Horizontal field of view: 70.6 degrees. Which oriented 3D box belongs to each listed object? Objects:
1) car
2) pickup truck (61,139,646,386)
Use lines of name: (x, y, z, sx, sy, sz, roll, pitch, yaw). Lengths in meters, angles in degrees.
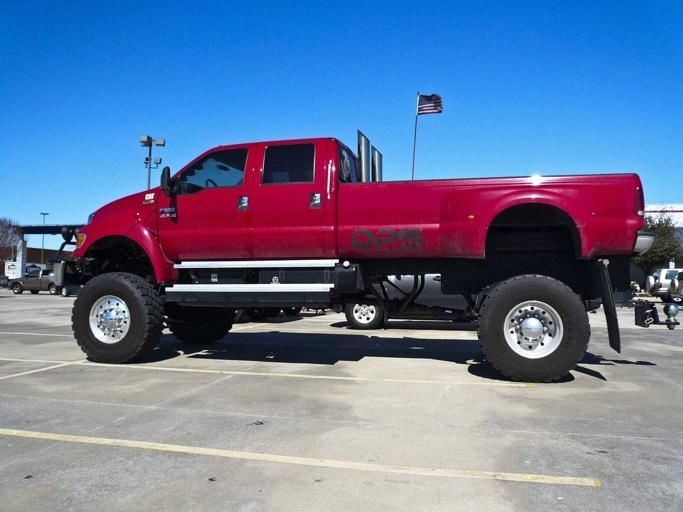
car: (0.919, 0.899, 8.473, 2.384, 1.041, 1.349, -2, -5, 14)
pickup truck: (-0.477, -0.073, 8.927, 9.883, 3.468, 3.582, 1, -2, 14)
